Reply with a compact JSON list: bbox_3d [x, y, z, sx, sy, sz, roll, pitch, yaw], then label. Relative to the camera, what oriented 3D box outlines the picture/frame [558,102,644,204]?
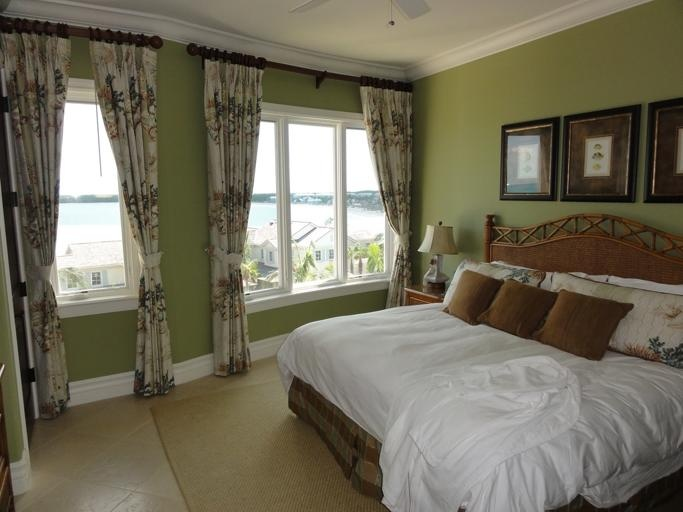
[{"bbox_3d":[2.301,-0.907,4.180,0.109,1.175,0.814,-3,7,-36],"label":"picture/frame"}]

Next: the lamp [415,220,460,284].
[{"bbox_3d":[1.175,-0.070,5.686,0.565,0.949,0.583,-2,8,-14],"label":"lamp"}]

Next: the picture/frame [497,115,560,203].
[{"bbox_3d":[1.870,-0.964,4.706,0.068,1.070,0.804,-3,5,-34],"label":"picture/frame"}]
